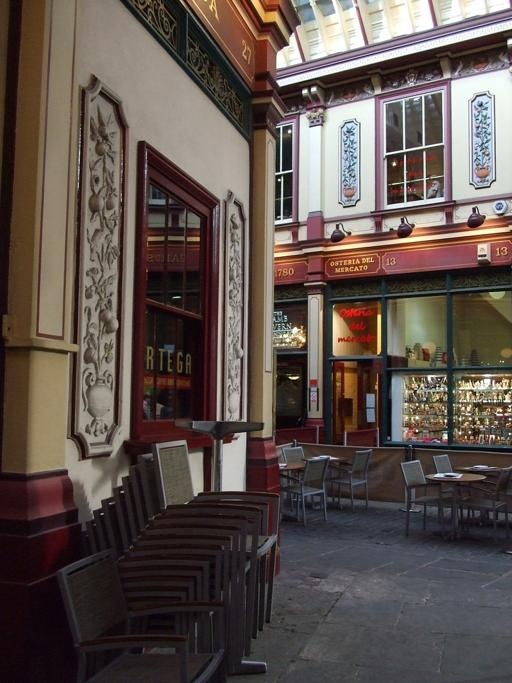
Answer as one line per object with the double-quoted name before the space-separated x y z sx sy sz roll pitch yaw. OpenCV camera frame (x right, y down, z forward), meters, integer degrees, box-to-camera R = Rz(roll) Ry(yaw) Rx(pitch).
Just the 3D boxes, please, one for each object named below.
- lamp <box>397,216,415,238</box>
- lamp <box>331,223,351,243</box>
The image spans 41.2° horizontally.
"lamp" 2.812 -2.108 12.738 0.219 0.437 0.458 -4 -14 21
"lamp" 1.641 -2.153 13.448 0.361 0.435 0.428 -2 -7 26
